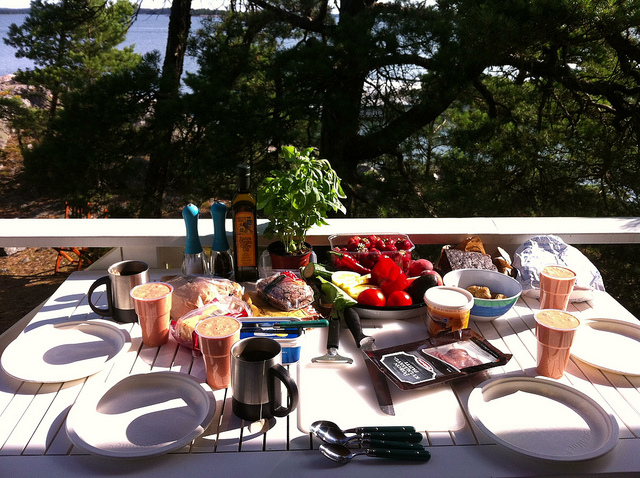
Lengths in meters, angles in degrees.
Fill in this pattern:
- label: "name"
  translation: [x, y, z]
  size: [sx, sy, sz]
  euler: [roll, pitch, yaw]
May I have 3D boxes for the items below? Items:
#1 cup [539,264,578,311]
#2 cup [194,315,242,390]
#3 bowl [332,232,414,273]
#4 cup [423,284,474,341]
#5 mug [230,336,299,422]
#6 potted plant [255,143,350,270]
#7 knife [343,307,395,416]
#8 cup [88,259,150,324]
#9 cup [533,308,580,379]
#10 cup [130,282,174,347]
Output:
- label: "cup"
  translation: [0.810, 0.171, 1.486]
  size: [0.102, 0.150, 0.125]
  euler: [15, 18, 33]
- label: "cup"
  translation: [-0.273, 0.299, 1.147]
  size: [0.129, 0.156, 0.122]
  euler: [3, 11, -1]
- label: "bowl"
  translation: [0.211, 0.039, 1.668]
  size: [0.240, 0.083, 0.170]
  euler: [-3, 22, 2]
- label: "cup"
  translation: [0.404, 0.236, 1.357]
  size: [0.137, 0.137, 0.138]
  euler: [-2, 19, 1]
- label: "mug"
  translation: [-0.132, 0.347, 1.025]
  size: [0.118, 0.155, 0.198]
  euler: [-9, 17, -43]
- label: "potted plant"
  translation: [-0.074, -0.111, 1.713]
  size: [0.341, 0.485, 0.370]
  euler: [3, 11, -25]
- label: "knife"
  translation: [0.140, 0.325, 1.225]
  size: [0.045, 0.355, 0.037]
  euler: [-23, -1, 5]
- label: "cup"
  translation: [-0.662, 0.184, 1.414]
  size: [0.190, 0.163, 0.105]
  euler: [-5, 8, -37]
- label: "cup"
  translation: [0.655, 0.302, 1.192]
  size: [0.118, 0.141, 0.112]
  euler: [4, -2, 0]
- label: "cup"
  translation: [-0.515, 0.222, 1.323]
  size: [0.110, 0.164, 0.144]
  euler: [0, 16, -19]
